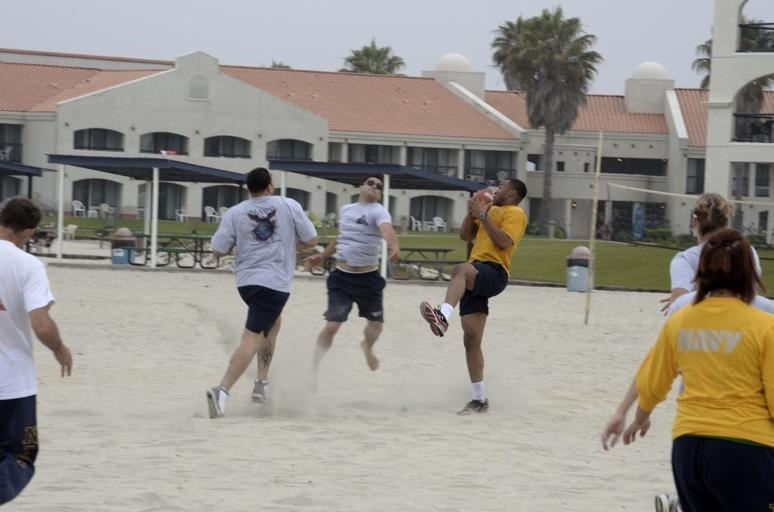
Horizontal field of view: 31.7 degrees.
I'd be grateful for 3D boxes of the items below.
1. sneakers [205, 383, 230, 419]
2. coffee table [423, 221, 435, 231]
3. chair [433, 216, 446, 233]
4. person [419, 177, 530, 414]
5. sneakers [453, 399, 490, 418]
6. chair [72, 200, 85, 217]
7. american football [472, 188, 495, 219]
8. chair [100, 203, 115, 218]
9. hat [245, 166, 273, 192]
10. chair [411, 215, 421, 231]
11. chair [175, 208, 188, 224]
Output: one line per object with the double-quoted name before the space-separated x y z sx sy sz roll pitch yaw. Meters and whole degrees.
"sneakers" -2.682 2.322 21.662 0.329 0.601 0.212 -13 29 -5
"coffee table" 1.791 -1.322 60.358 0.396 0.562 0.459 1 -5 -3
"chair" 2.207 -1.391 60.449 0.726 0.748 0.652 0 0 -23
"person" 1.466 0.635 22.307 1.516 3.707 0.729 2 1 -26
"sneakers" 1.381 2.527 22.489 0.617 0.200 0.206 -5 1 -6
"chair" -12.621 -1.946 55.699 0.670 0.726 0.642 1 0 -30
"american football" 1.558 -0.849 22.339 0.279 0.262 0.461 -16 24 23
"chair" -11.322 -1.877 55.815 0.627 0.618 0.655 1 -1 -38
"hat" -2.109 -1.271 22.110 0.372 0.397 0.436 13 24 29
"chair" 1.222 -1.428 60.144 0.711 0.732 0.652 -1 5 10
"chair" -8.626 -1.723 57.013 0.535 0.588 0.701 0 1 -37
